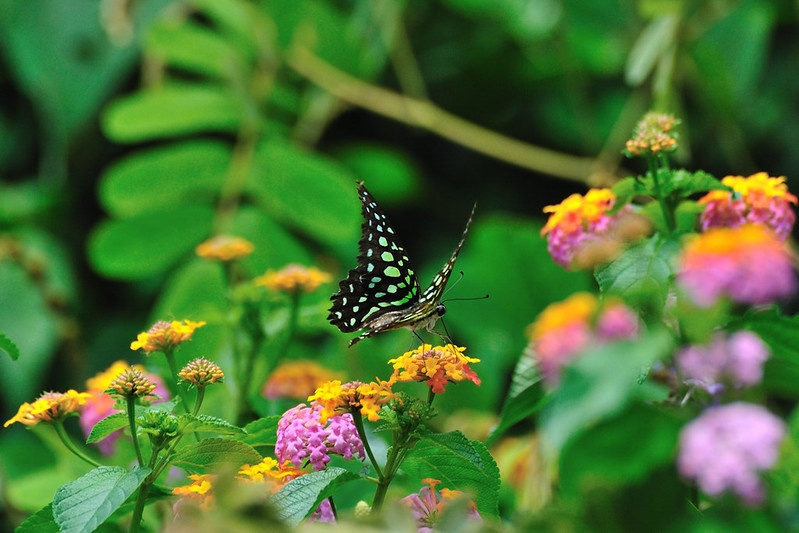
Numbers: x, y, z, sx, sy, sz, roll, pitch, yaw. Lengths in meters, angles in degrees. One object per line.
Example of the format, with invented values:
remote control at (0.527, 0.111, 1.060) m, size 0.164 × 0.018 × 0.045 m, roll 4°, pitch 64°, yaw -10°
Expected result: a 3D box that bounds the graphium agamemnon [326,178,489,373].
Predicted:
graphium agamemnon at (0.030, 0.021, 2.801) m, size 0.439 × 0.426 × 0.445 m, roll -24°, pitch 35°, yaw -39°
